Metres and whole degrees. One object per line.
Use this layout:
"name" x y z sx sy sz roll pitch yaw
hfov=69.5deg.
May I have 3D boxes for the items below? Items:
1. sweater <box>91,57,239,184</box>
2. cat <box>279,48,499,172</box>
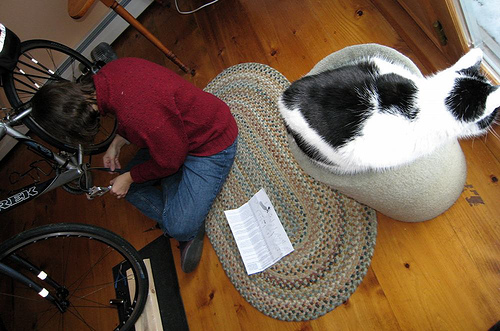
"sweater" -0.434 -0.220 1.903 0.511 0.534 0.420 -32 57 13
"cat" 0.580 -0.196 1.564 0.769 0.254 0.459 -3 70 20
